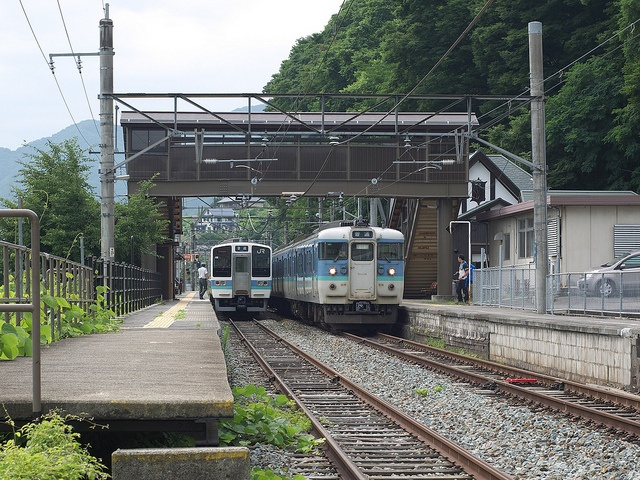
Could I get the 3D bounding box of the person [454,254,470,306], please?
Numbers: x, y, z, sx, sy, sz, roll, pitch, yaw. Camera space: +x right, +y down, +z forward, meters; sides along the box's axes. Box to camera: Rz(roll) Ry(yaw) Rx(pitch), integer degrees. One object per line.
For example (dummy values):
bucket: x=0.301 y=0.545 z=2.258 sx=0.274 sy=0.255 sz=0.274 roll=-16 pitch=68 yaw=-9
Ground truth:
person: x=4.799 y=1.322 z=27.257 sx=0.522 sy=1.242 sz=2.557 roll=-8 pitch=3 yaw=9
